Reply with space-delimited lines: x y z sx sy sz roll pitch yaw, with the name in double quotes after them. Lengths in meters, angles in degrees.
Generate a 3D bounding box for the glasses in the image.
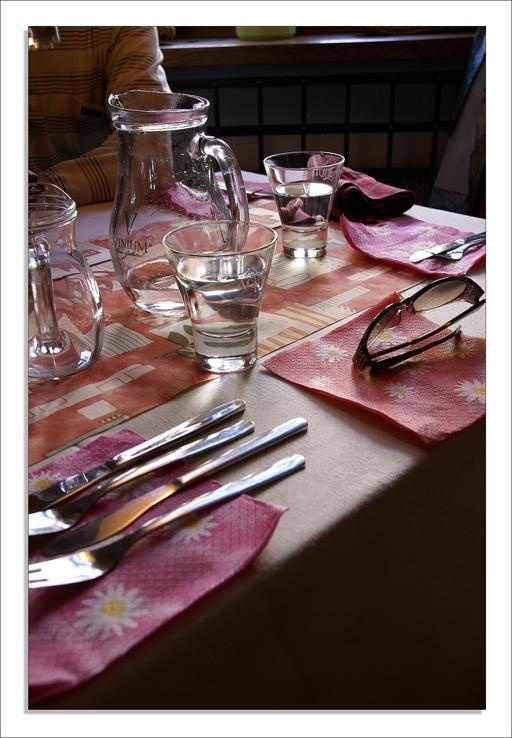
0.127 -0.035 0.453 0.127 0.030 0.041 -33 77 -19 "glasses"
